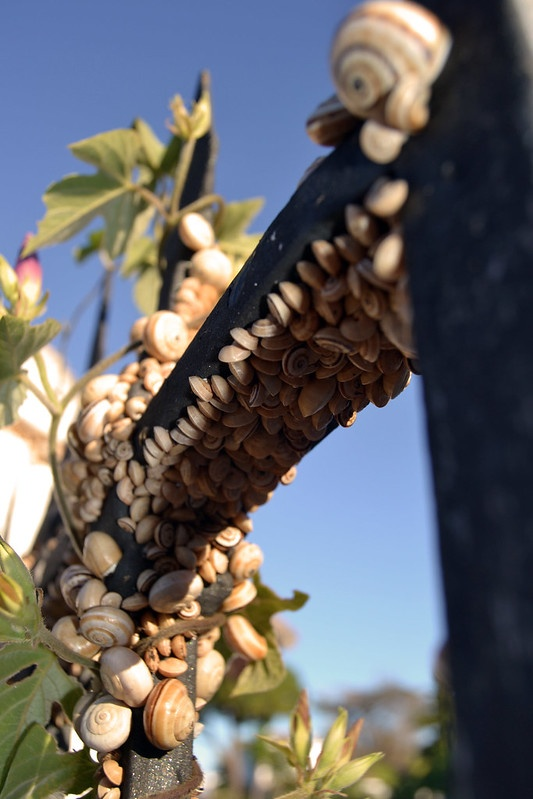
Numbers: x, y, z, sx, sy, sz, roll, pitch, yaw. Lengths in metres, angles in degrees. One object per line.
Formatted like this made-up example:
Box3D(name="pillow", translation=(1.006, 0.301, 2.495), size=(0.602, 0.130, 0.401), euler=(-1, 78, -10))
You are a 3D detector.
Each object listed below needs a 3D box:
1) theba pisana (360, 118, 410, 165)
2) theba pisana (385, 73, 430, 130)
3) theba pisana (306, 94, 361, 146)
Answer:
Box3D(name="theba pisana", translation=(0.094, -0.204, 0.857), size=(0.035, 0.031, 0.010), euler=(-10, 13, 41))
Box3D(name="theba pisana", translation=(0.105, -0.230, 0.840), size=(0.036, 0.037, 0.019), euler=(1, 18, -24))
Box3D(name="theba pisana", translation=(0.053, -0.229, 0.901), size=(0.042, 0.016, 0.048), euler=(12, -49, -10))
